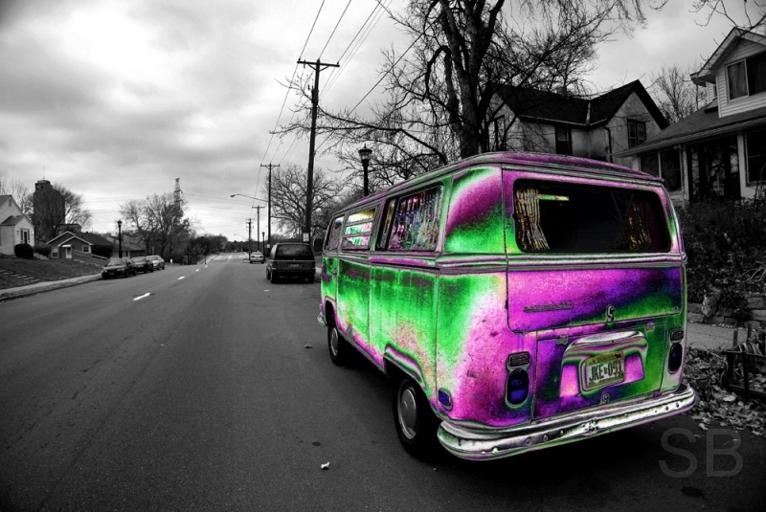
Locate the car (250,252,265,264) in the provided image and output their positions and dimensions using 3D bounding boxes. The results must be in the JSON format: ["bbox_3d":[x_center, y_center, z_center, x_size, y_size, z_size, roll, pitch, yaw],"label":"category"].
[{"bbox_3d":[-13.747,0.223,60.285,1.024,0.805,2.271,0,10,-14],"label":"car"}]

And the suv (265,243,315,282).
[{"bbox_3d":[-4.112,0.165,24.042,1.243,1.214,2.514,0,5,-20],"label":"suv"}]

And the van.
[{"bbox_3d":[1.900,0.422,6.797,3.533,3.305,1.708,-2,13,-10],"label":"van"}]
